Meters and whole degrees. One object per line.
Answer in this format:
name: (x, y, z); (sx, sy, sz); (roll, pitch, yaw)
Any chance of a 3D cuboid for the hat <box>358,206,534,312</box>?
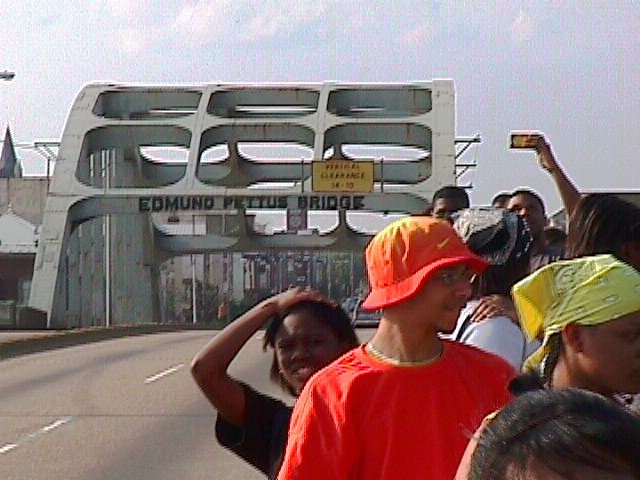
hat: (0.819, 0.013, 7.271); (0.942, 0.533, 0.773); (-10, -19, 7)
